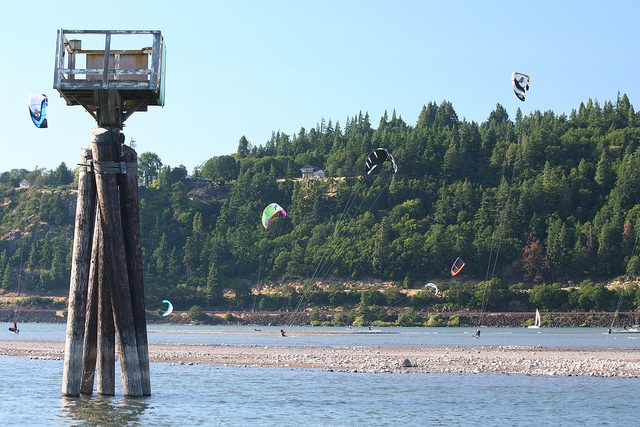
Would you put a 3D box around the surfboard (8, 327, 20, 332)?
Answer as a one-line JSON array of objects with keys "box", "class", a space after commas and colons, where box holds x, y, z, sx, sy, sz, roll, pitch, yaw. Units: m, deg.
[{"box": [-59.034, 22.053, 273.024, 1.552, 0.476, 1.261, 5, -3, -11], "class": "surfboard"}]
